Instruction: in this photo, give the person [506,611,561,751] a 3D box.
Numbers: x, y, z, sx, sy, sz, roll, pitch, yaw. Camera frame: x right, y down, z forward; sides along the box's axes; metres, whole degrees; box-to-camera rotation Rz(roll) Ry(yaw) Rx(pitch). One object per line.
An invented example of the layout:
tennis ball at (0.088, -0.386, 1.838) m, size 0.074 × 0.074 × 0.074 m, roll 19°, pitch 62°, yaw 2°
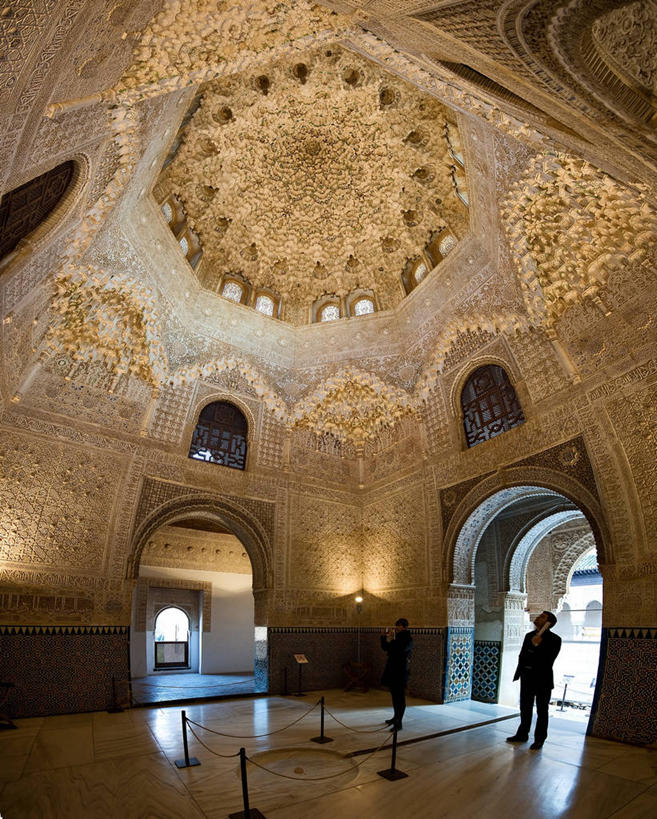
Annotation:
person at (1.686, 2.273, 4.508) m, size 0.478 × 1.052 × 0.650 m, roll -5°, pitch -18°, yaw 17°
